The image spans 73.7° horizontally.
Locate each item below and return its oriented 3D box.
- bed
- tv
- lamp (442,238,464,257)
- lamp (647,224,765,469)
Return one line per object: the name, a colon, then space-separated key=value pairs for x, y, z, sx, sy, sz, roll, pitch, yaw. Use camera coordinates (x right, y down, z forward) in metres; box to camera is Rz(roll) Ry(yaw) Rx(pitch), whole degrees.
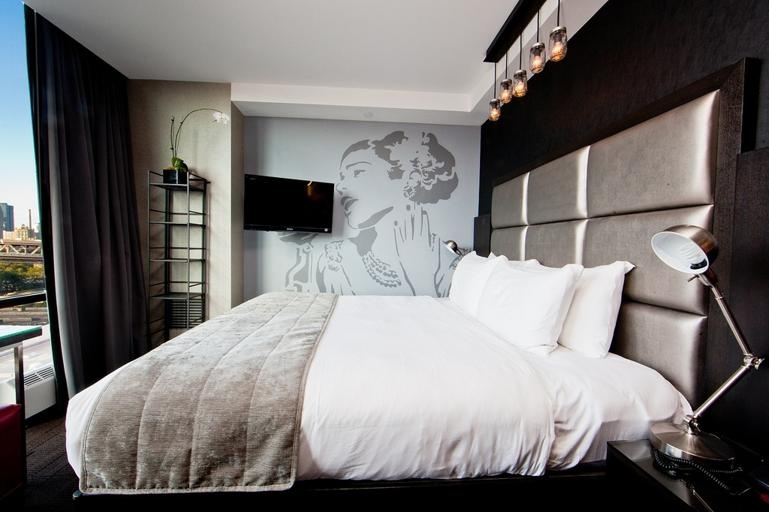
bed: x=0.093 y=0.322 z=3.581 sx=2.809 sy=1.787 sz=2.864 roll=0 pitch=1 yaw=-6
tv: x=-0.967 y=-0.503 z=5.068 sx=0.575 sy=0.399 sz=0.062 roll=2 pitch=0 yaw=-13
lamp: x=0.696 y=-0.074 z=5.153 sx=0.217 sy=0.110 sz=0.131 roll=38 pitch=13 yaw=-37
lamp: x=1.653 y=0.450 z=2.662 sx=0.496 sy=1.216 sz=0.254 roll=-1 pitch=5 yaw=-17
